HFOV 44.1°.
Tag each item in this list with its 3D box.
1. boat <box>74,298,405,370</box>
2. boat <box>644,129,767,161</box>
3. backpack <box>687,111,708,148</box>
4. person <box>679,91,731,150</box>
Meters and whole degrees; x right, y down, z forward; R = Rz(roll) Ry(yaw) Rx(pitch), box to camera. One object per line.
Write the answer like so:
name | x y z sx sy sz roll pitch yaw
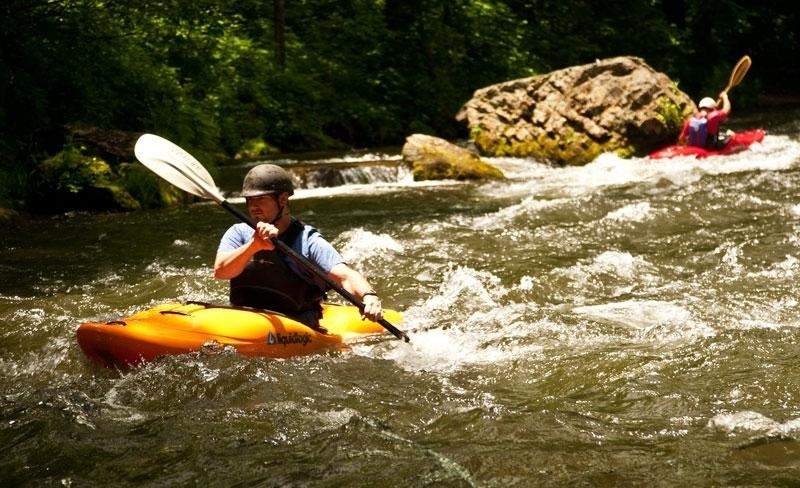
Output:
boat | -2.363 1.402 15.058 5.453 1.106 2.805 4 -4 -44
boat | 6.721 -2.046 20.789 1.801 0.270 0.946 -15 4 -8
backpack | 6.248 -2.354 20.718 0.285 0.634 0.474 -16 21 -20
person | 6.581 -2.632 21.233 0.958 0.939 1.547 -3 15 30
